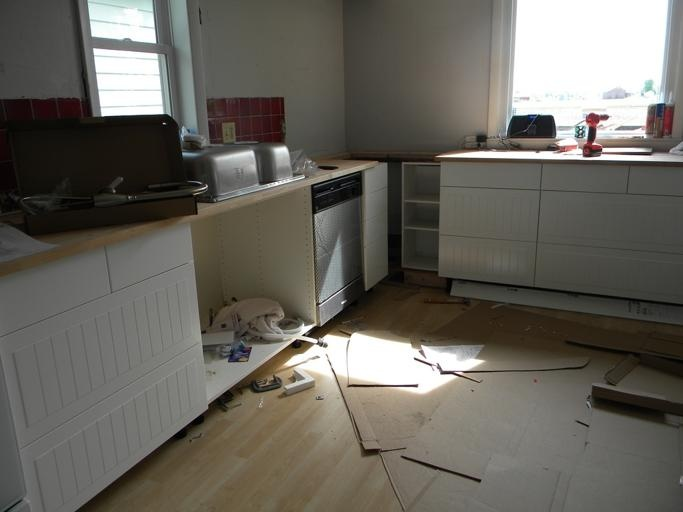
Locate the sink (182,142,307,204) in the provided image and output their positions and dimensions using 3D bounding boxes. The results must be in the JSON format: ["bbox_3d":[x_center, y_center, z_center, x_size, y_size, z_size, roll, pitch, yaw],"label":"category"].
[{"bbox_3d":[-0.516,-0.439,2.494,0.320,0.137,0.459,17,30,42],"label":"sink"}]

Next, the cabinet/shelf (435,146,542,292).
[{"bbox_3d":[1.146,-0.215,3.773,0.711,0.968,0.542,5,-10,10],"label":"cabinet/shelf"}]

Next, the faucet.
[{"bbox_3d":[-0.782,-0.262,1.972,0.302,0.115,0.167,-12,21,-17],"label":"faucet"}]
